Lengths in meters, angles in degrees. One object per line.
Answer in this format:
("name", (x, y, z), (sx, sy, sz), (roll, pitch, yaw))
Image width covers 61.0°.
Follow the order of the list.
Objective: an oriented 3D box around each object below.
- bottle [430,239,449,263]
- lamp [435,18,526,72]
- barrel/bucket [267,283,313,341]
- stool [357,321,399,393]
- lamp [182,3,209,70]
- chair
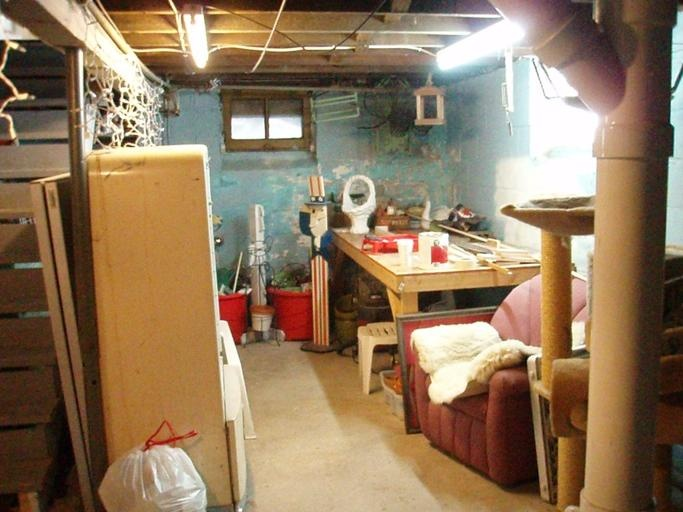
("bottle", (0.722, -0.025, 4.270), (0.171, 0.225, 0.081), (-1, 3, -8))
("lamp", (0.954, -1.398, 3.813), (0.246, 0.163, 0.995), (-3, 11, -16))
("barrel/bucket", (-0.480, 0.613, 6.008), (0.502, 0.416, 0.471), (-2, 3, 0))
("stool", (0.236, 0.818, 4.709), (0.455, 0.395, 0.489), (-4, 14, -12))
("lamp", (-0.886, -1.351, 3.626), (0.152, 0.154, 0.646), (-5, -15, -10))
("chair", (0.943, 0.723, 3.780), (1.152, 1.142, 1.228), (-3, 3, -18))
